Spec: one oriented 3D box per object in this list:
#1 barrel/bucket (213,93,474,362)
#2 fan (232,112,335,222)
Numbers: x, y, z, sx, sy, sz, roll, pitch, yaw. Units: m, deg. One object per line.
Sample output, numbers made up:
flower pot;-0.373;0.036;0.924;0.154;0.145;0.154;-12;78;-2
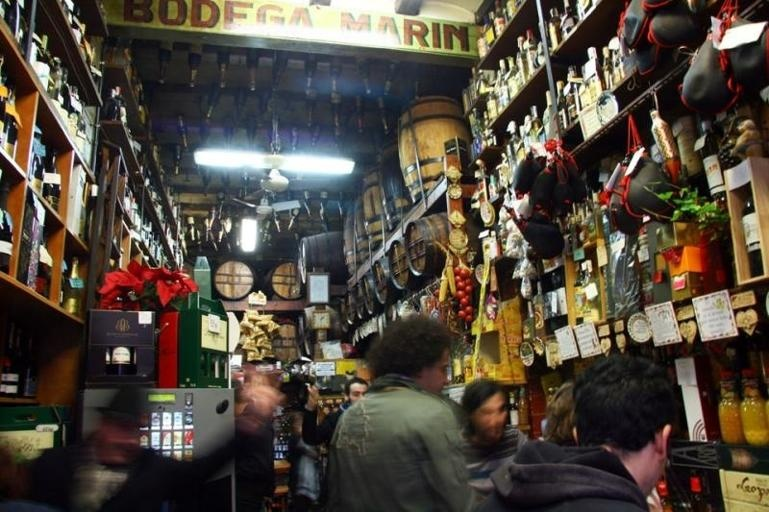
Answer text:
barrel/bucket;0.036;-0.579;6.989;2.341;3.426;2.204;10;-13;2
fan;-1.184;-1.183;7.661;1.193;1.207;1.239;-2;-6;-9
